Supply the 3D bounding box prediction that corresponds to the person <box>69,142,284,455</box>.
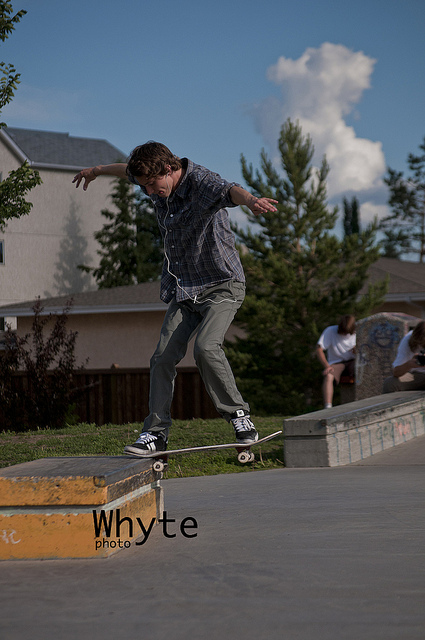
[{"bbox_3d":[-0.116,-0.105,4.348,0.631,1.576,0.752,-3,-8,2],"label":"person"}]
